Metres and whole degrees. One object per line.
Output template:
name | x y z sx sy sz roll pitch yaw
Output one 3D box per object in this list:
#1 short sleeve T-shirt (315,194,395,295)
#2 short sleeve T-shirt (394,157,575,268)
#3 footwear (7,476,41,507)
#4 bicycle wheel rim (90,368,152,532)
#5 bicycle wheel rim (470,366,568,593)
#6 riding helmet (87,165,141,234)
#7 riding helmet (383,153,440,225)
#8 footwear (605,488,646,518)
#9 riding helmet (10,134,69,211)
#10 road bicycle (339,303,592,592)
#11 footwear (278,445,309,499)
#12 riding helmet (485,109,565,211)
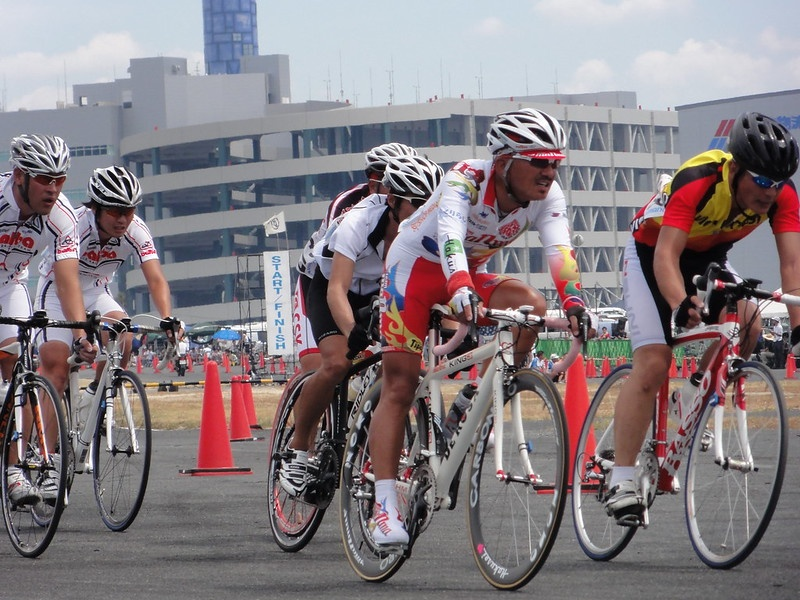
short sleeve T-shirt | -0.298 -0.356 9.750 0.405 0.644 0.594 36 19 22
short sleeve T-shirt | 0.498 -0.503 8.752 0.650 0.712 0.935 14 13 -44
footwear | -2.584 1.317 9.723 0.300 0.205 0.073 2 4 37
bicycle wheel rim | -2.063 1.108 10.401 0.270 1.183 1.198 1 -35 -24
bicycle wheel rim | 0.714 1.040 8.253 0.327 1.293 0.772 -3 4 -39
riding helmet | -2.266 -0.794 11.054 0.393 0.548 0.548 0 12 -21
riding helmet | 0.070 -0.767 9.623 0.325 0.375 0.385 -15 -8 -44
footwear | 1.401 1.257 8.776 0.136 0.128 0.239 -6 -15 -15
riding helmet | -2.639 -0.949 10.383 0.443 0.525 0.431 -3 4 -32
road bicycle | 0.284 0.870 8.647 0.882 1.712 2.474 13 -11 -27
footwear | -0.720 1.177 9.676 0.190 0.278 0.594 16 5 -13
riding helmet | 0.753 -0.881 8.534 0.512 0.581 0.455 -5 -5 43
